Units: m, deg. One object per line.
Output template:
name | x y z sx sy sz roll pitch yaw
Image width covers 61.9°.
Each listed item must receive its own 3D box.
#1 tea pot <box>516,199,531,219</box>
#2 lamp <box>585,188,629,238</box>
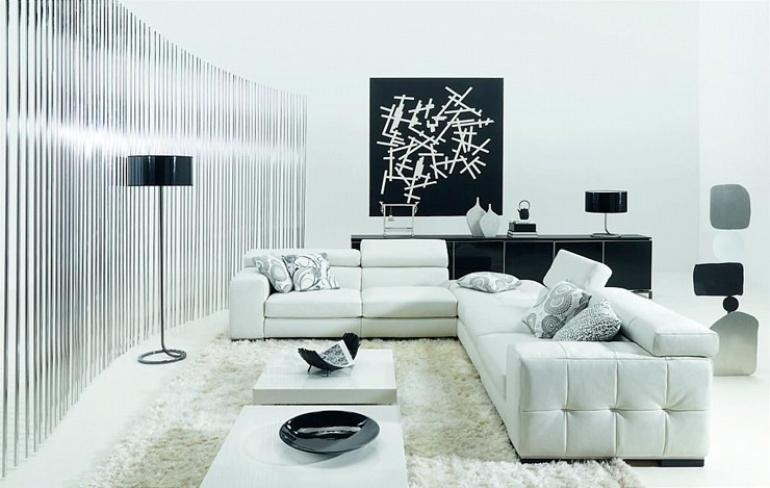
tea pot | 1.923 -0.538 8.834 0.179 0.274 0.836 0 6 13
lamp | 2.938 -0.485 8.621 0.658 0.746 0.655 0 4 14
